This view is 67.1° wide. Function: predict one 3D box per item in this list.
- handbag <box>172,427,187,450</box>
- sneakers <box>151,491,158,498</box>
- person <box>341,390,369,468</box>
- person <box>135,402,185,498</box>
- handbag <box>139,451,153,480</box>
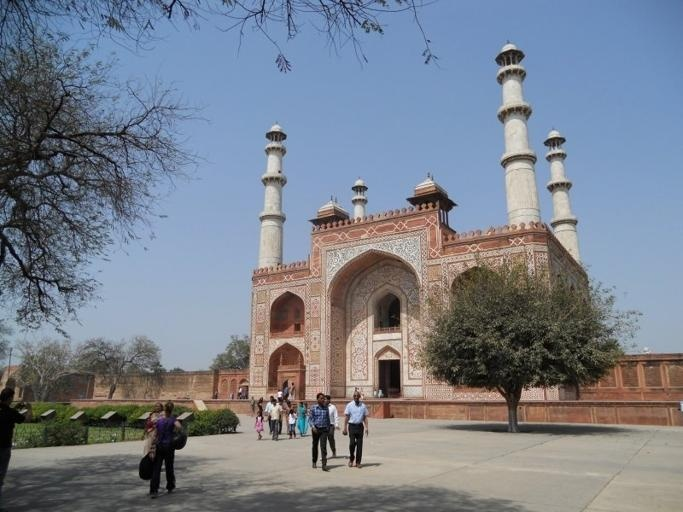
[{"bbox_3d":[-2.368,2.674,7.595,0.263,0.286,0.277,3,-14,-5],"label":"handbag"},{"bbox_3d":[-2.512,3.186,6.884,0.041,0.052,0.121,2,-32,-8],"label":"sneakers"},{"bbox_3d":[0.248,3.026,9.140,0.382,1.277,0.898,-1,-15,1],"label":"person"},{"bbox_3d":[-2.557,2.727,7.413,0.577,1.243,0.815,5,-16,-17],"label":"person"},{"bbox_3d":[-2.746,2.943,7.261,0.088,0.364,0.249,3,0,-6],"label":"handbag"}]
